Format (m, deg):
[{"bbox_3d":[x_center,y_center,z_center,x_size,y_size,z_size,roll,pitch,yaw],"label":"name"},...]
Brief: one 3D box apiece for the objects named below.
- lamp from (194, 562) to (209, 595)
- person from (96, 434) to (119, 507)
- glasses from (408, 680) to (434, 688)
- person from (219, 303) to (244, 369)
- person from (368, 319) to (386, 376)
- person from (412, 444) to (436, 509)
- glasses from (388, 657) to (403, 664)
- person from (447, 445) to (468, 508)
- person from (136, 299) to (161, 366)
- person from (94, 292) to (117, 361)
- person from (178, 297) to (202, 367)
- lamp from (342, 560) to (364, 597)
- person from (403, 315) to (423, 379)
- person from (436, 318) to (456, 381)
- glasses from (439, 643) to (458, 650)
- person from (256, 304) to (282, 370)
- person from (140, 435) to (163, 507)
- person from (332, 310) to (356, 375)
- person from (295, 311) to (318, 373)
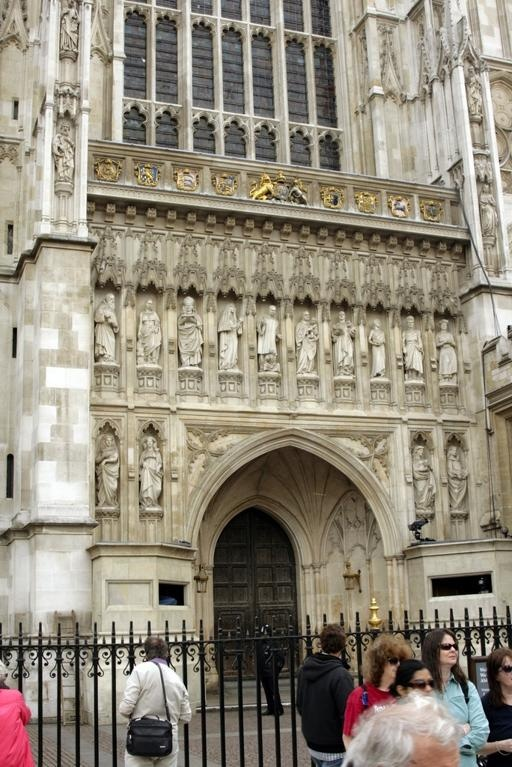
[{"bbox_3d":[-1.004,3.531,20.026,0.202,0.552,0.512,-4,-17,3],"label":"lamp"},{"bbox_3d":[-2.526,1.452,18.502,0.383,1.401,0.245,0,-17,-9],"label":"person"},{"bbox_3d":[0.814,1.484,5.416,0.119,0.052,0.094,1,-18,-14],"label":"glasses"},{"bbox_3d":[-0.463,-0.849,20.250,0.487,1.373,0.290,9,-21,-34],"label":"person"},{"bbox_3d":[2.363,-0.659,21.498,0.378,1.235,0.268,-1,-17,-8],"label":"person"},{"bbox_3d":[3.167,1.833,20.947,0.486,1.496,0.270,14,-24,-43],"label":"person"},{"bbox_3d":[0.771,1.547,6.132,0.078,0.034,0.033,-6,-18,8],"label":"glasses"},{"bbox_3d":[3.891,1.813,21.261,0.507,1.393,0.223,8,-20,-31],"label":"person"},{"bbox_3d":[-1.936,-0.830,19.540,0.346,1.164,0.308,-13,-20,29],"label":"person"},{"bbox_3d":[-2.626,-0.915,19.209,0.420,1.224,0.338,0,-17,-9],"label":"person"},{"bbox_3d":[-1.198,-0.854,19.866,0.463,1.313,0.334,0,-17,-8],"label":"person"},{"bbox_3d":[1.870,3.795,21.575,0.350,0.616,0.433,-4,-17,4],"label":"lamp"},{"bbox_3d":[3.076,-0.658,21.784,0.280,1.294,0.375,-15,-21,34],"label":"person"},{"bbox_3d":[3.833,-0.596,22.047,0.449,1.279,0.251,6,-19,-26],"label":"person"},{"bbox_3d":[1.131,1.540,6.421,0.059,0.042,0.150,-17,-22,37],"label":"glasses"},{"bbox_3d":[0.239,-0.809,20.523,0.484,1.344,0.302,3,-18,-18],"label":"person"},{"bbox_3d":[-1.817,1.501,18.842,0.279,1.382,0.384,-13,-20,29],"label":"person"},{"bbox_3d":[1.696,-0.706,21.222,0.469,1.297,0.237,2,-18,-14],"label":"person"},{"bbox_3d":[0.965,-0.716,20.825,0.469,1.214,0.191,2,-18,-15],"label":"person"}]
